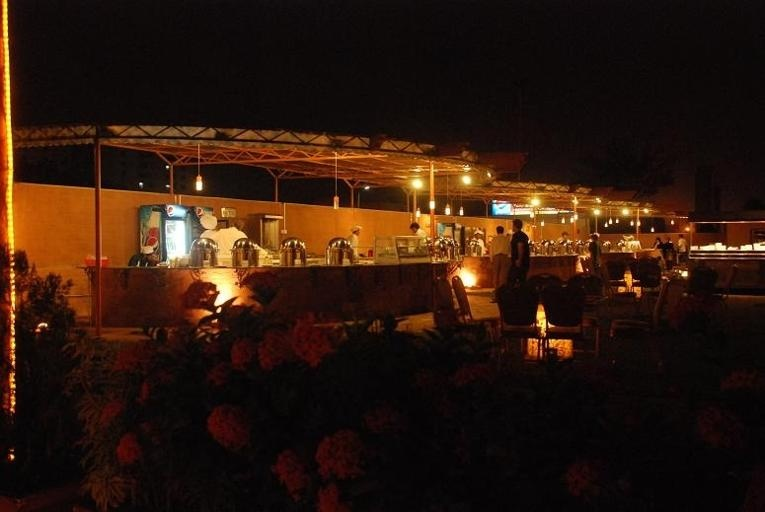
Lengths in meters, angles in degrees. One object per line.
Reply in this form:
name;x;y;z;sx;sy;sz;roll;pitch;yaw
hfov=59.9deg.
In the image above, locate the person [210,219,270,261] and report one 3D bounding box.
person;-2.663;-0.259;11.496;0.957;0.452;1.071;1;4;7
